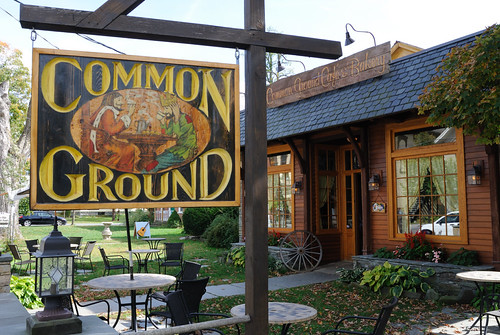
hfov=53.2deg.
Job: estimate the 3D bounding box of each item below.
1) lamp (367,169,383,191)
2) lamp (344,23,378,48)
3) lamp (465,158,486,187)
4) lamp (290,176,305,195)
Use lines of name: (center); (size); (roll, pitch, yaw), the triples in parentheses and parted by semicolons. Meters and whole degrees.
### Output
lamp: (3.125, 0.327, 12.654); (0.351, 0.481, 0.242); (0, 1, 40)
lamp: (2.766, -3.301, 12.658); (0.732, 0.685, 0.805); (0, 1, 8)
lamp: (4.951, 0.116, 10.957); (0.310, 0.536, 0.349); (-4, 1, 40)
lamp: (1.385, 0.538, 14.586); (0.432, 0.672, 0.393); (8, -13, -30)
